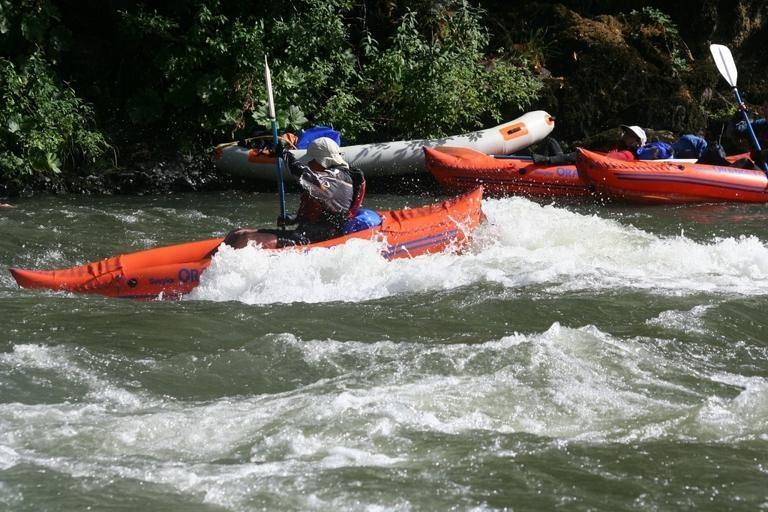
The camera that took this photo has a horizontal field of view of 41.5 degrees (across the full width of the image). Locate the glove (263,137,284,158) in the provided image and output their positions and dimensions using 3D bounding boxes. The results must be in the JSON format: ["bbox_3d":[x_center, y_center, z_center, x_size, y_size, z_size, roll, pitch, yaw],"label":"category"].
[{"bbox_3d":[-1.275,-1.319,12.383,0.283,0.240,0.102,-6,-23,22],"label":"glove"}]

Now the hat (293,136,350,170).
[{"bbox_3d":[-0.732,-1.254,12.197,0.493,0.219,0.374,-5,21,-39],"label":"hat"}]
